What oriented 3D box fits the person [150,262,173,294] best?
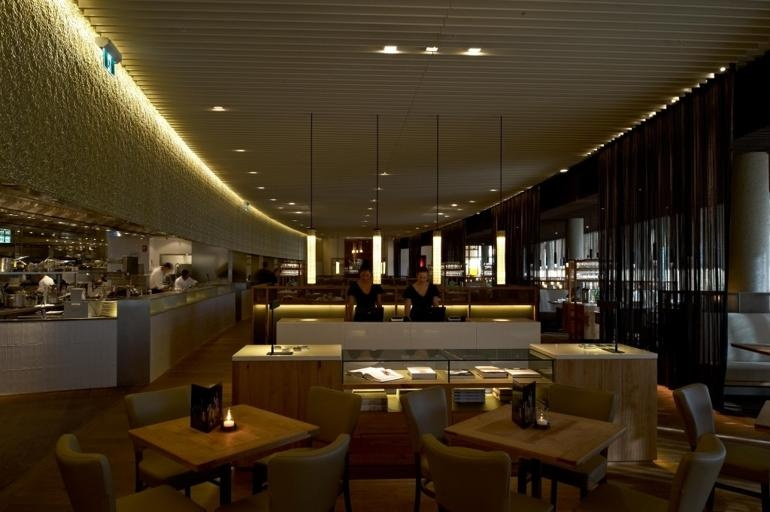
[{"bbox_3d":[-4.818,0.468,11.999,0.397,0.608,1.570,2,-4,-22],"label":"person"}]

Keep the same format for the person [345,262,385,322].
[{"bbox_3d":[-0.330,0.560,8.726,0.505,0.904,0.638,1,-3,-3],"label":"person"}]

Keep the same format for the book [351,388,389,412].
[{"bbox_3d":[-0.158,1.478,5.719,0.340,0.107,0.318,1,-4,0],"label":"book"}]

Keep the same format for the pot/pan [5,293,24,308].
[{"bbox_3d":[-5.793,0.723,8.860,0.271,0.251,0.279,3,-8,-21],"label":"pot/pan"}]

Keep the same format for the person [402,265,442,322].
[{"bbox_3d":[0.529,0.583,8.491,0.493,0.790,0.264,1,-3,1],"label":"person"}]
